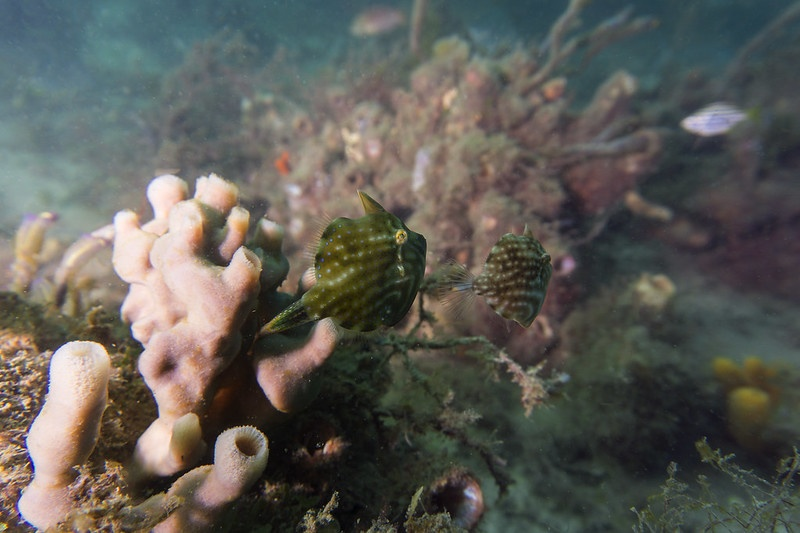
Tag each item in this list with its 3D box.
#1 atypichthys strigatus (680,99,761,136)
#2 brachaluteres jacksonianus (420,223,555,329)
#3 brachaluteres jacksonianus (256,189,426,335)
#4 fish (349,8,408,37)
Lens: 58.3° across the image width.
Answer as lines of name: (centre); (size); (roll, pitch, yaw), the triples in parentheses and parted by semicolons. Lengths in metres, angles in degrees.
atypichthys strigatus: (4.574, -2.156, 10.300); (0.898, 0.503, 0.884); (8, 15, 33)
brachaluteres jacksonianus: (1.224, 0.208, 9.012); (1.395, 0.924, 0.770); (-18, 42, 10)
brachaluteres jacksonianus: (-0.679, 0.387, 8.645); (1.484, 2.021, 1.353); (18, 30, 28)
fish: (-0.408, -4.063, 11.981); (0.595, 0.169, 0.591); (-7, 43, 5)
